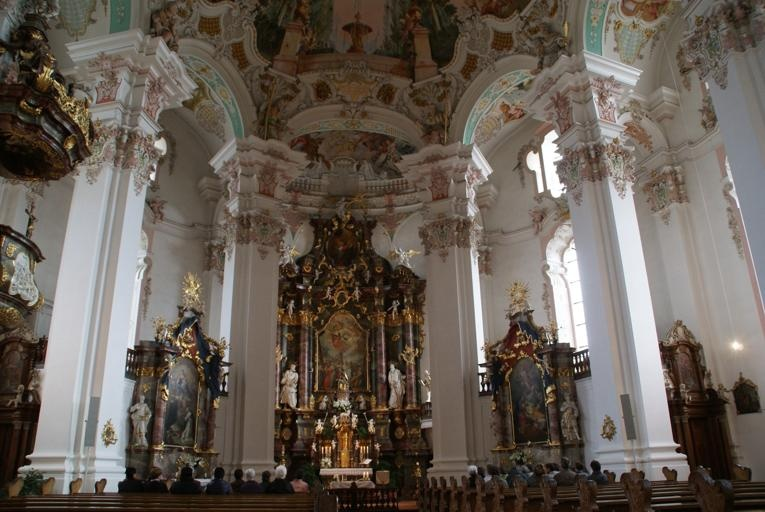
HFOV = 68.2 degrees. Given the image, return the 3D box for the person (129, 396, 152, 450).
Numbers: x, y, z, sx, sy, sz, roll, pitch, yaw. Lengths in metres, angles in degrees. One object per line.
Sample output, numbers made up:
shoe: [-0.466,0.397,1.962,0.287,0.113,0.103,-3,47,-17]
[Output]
person: [-4.785,3.274,11.225,0.260,0.993,0.489,-20,-29,33]

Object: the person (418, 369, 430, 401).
person: [1.451,4.302,18.669,0.246,1.129,0.607,9,-26,-26]

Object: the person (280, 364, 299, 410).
person: [-3.010,4.212,18.333,0.612,1.458,0.239,9,-26,-26]

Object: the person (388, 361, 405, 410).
person: [0.465,4.297,18.733,0.541,1.515,0.188,-3,-24,0]
